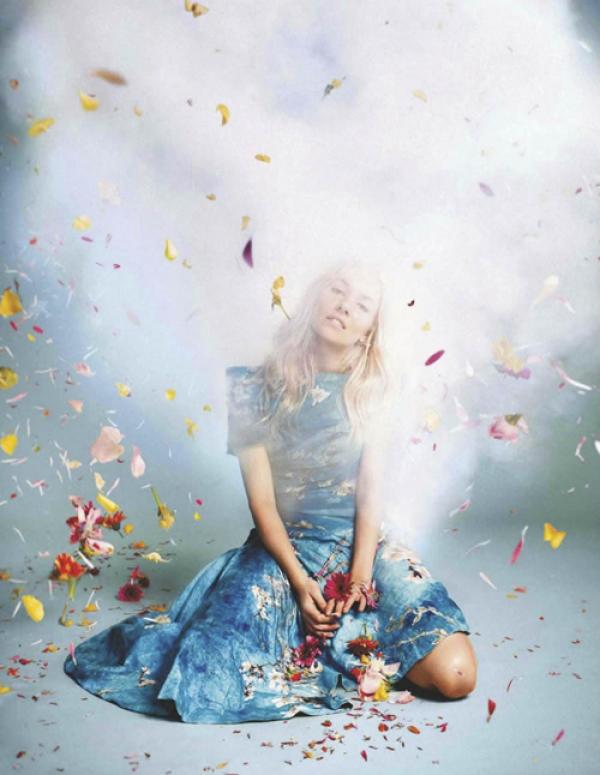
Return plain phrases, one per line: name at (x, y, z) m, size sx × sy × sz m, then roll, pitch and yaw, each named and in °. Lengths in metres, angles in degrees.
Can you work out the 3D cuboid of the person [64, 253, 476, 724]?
person at (-0.210, 0.163, 2.393) m, size 1.392 × 1.135 × 1.060 m, roll 1°, pitch -2°, yaw 8°
